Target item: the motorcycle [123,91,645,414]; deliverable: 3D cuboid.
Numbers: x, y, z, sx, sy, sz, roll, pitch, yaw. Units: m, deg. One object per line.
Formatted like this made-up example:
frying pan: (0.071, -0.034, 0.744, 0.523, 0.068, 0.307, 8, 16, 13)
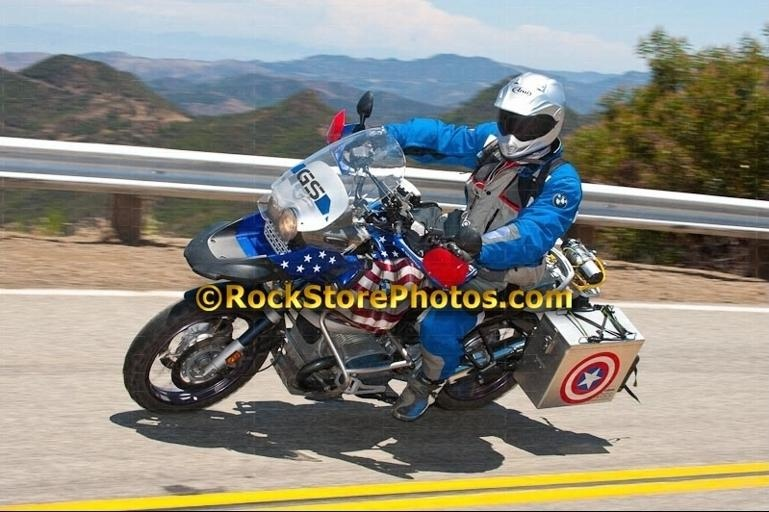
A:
motorcycle: (0.052, 0.406, 5.161, 3.188, 1.021, 0.834, 8, 2, -20)
